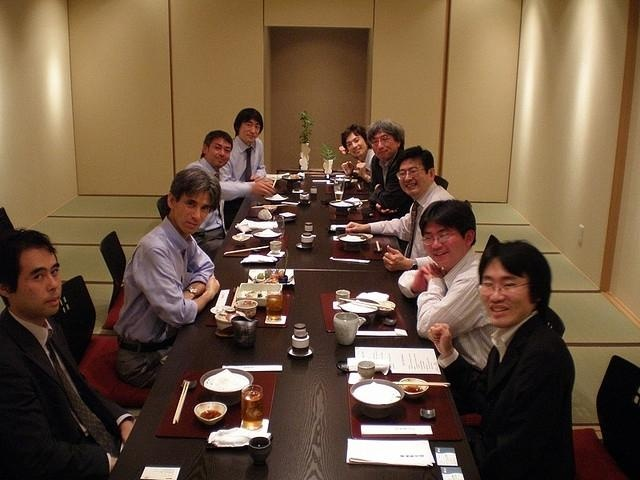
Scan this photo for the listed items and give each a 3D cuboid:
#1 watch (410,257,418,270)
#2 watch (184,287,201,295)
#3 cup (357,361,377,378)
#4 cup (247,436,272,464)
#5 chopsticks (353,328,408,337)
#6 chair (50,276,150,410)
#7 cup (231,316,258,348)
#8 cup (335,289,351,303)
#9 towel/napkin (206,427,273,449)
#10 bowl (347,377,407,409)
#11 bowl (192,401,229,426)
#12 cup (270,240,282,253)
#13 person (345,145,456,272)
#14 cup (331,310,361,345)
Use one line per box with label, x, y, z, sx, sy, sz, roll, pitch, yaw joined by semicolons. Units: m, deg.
watch;0.600;0.151;3.085;0.046;0.067;0.058;-3;-18;2
watch;-0.687;0.280;2.678;0.061;0.058;0.038;4;46;-41
cup;0.194;0.508;1.936;0.057;0.050;0.061;1;7;0
cup;-0.188;0.660;1.536;0.064;0.060;0.074;1;6;-1
chopsticks;0.292;0.440;2.298;0.160;0.015;0.029;-1;42;-1
chair;-1.131;0.546;2.533;0.436;0.684;0.395;6;29;7
cup;-0.332;0.407;2.210;0.131;0.140;0.112;-1;10;6
cup;0.117;0.296;2.543;0.056;0.047;0.056;-3;11;1
towel/napkin;-0.283;0.663;1.630;0.125;0.021;0.084;1;12;1
bowl;0.208;0.588;1.811;0.186;0.078;0.171;-2;14;0
bowl;-0.391;0.616;1.743;0.111;0.045;0.112;-2;14;0
cup;-0.296;0.041;3.271;0.070;0.081;0.073;1;9;0
person;0.652;-0.086;3.593;0.752;1.152;0.711;-2;7;-4
cup;0.118;0.398;2.178;0.110;0.107;0.138;0;-1;3
